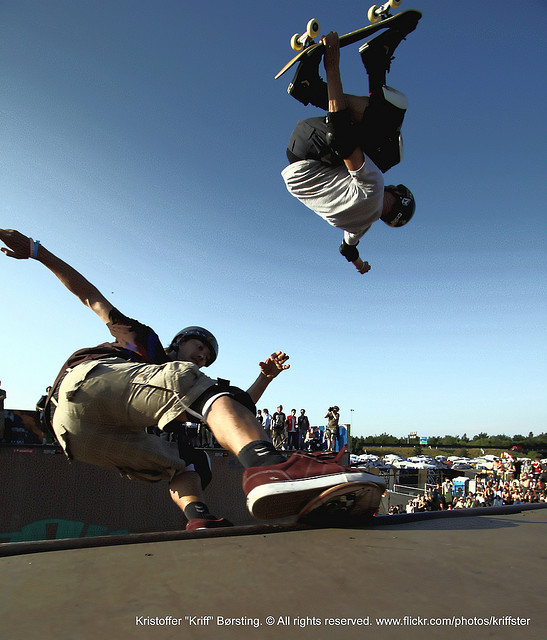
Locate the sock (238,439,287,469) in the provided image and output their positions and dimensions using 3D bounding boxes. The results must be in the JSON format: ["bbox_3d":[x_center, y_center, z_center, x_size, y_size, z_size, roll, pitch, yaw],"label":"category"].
[{"bbox_3d":[-0.046,0.462,1.682,0.177,0.104,0.116,2,-13,11],"label":"sock"}]

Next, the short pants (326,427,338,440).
[{"bbox_3d":[1.674,3.297,14.347,0.326,0.331,0.209,4,-13,5],"label":"short pants"}]

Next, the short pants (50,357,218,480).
[{"bbox_3d":[-0.642,0.458,2.208,0.631,0.587,0.963,10,-13,-22],"label":"short pants"}]

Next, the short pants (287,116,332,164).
[{"bbox_3d":[0.233,-1.301,3.532,0.190,0.242,0.318,-6,-36,-48],"label":"short pants"}]

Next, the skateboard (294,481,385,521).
[{"bbox_3d":[0.234,0.585,1.688,0.290,0.162,0.099,-1,27,-11],"label":"skateboard"}]

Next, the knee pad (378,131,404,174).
[{"bbox_3d":[0.805,-1.161,3.420,0.157,0.256,0.271,2,-13,13],"label":"knee pad"}]

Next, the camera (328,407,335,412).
[{"bbox_3d":[1.673,2.614,14.361,0.158,0.130,0.194,3,-12,8],"label":"camera"}]

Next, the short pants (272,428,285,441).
[{"bbox_3d":[0.140,3.123,13.450,0.364,0.330,0.240,7,-13,-10],"label":"short pants"}]
